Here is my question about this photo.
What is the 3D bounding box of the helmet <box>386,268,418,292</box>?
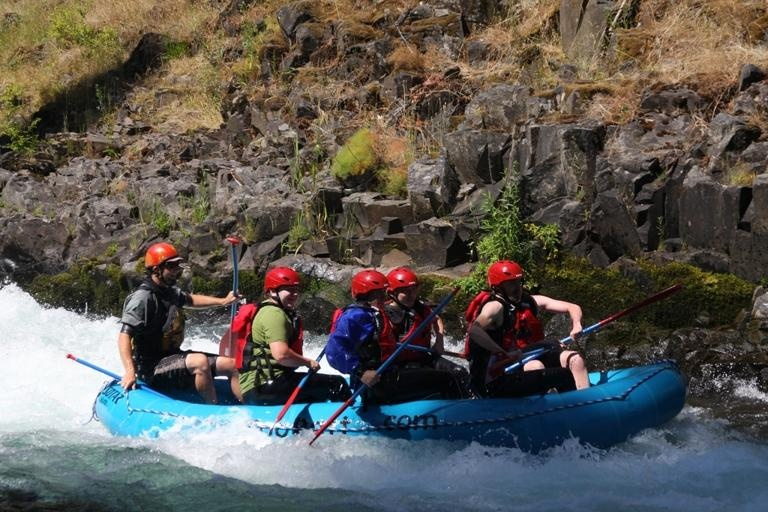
[{"bbox_3d":[0.319,0.390,20.947,0.449,0.403,0.341,-15,-4,28],"label":"helmet"}]

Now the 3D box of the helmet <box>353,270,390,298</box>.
[{"bbox_3d":[-0.231,0.476,20.931,0.514,0.440,0.399,14,2,15],"label":"helmet"}]

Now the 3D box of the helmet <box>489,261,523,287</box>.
[{"bbox_3d":[2.020,0.282,20.941,0.496,0.402,0.378,-25,-12,31],"label":"helmet"}]

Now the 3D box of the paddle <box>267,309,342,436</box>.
[{"bbox_3d":[-1.361,2.071,21.151,0.261,2.402,0.271,36,-6,10],"label":"paddle"}]

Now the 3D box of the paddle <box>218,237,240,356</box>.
[{"bbox_3d":[-2.643,0.847,22.046,0.528,2.330,0.172,7,8,31],"label":"paddle"}]

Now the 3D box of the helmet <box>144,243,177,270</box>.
[{"bbox_3d":[-3.884,0.013,21.661,0.531,0.285,0.380,-8,8,13],"label":"helmet"}]

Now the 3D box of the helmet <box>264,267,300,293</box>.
[{"bbox_3d":[-1.685,0.396,21.097,0.486,0.387,0.381,-20,-6,21],"label":"helmet"}]

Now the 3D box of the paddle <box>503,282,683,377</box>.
[{"bbox_3d":[3.728,1.354,21.833,2.838,0.307,0.149,-28,40,0],"label":"paddle"}]
